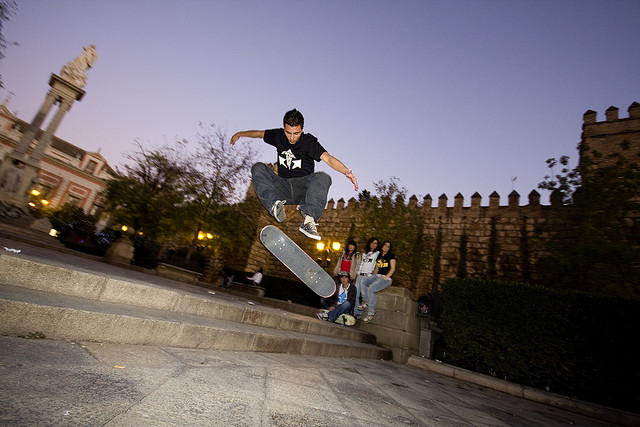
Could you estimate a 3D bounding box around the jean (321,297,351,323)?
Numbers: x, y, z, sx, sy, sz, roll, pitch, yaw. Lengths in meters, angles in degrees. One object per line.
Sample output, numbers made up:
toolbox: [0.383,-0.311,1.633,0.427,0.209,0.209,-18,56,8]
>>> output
jean: [0.452,2.424,8.567,0.553,0.302,0.590,18,-20,30]

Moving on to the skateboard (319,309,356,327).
skateboard: [0.498,2.575,8.427,0.592,0.171,0.390,9,-22,25]

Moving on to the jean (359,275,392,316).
jean: [1.386,2.061,8.759,0.835,0.858,0.821,7,-2,3]

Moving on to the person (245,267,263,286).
person: [-3.452,3.256,17.939,0.710,0.458,1.113,19,-27,-15]

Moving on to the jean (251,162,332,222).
jean: [-0.508,-0.424,6.509,1.366,0.729,1.558,11,20,12]

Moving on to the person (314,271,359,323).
person: [0.452,2.078,8.850,0.975,1.259,1.293,3,-11,20]

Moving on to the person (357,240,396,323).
person: [1.431,1.712,8.719,0.817,2.093,0.576,6,-16,24]

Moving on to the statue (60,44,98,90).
statue: [-14.751,-8.984,21.246,1.298,1.859,1.513,24,-18,-40]
